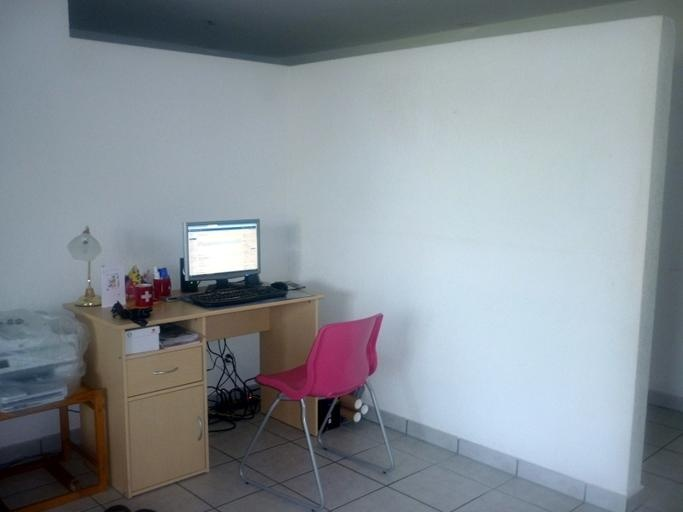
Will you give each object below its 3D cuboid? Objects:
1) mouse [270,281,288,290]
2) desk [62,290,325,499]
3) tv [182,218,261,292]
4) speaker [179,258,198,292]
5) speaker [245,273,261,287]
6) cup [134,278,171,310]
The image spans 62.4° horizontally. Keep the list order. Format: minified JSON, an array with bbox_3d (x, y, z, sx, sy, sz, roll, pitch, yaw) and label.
[{"bbox_3d":[-0.445,0.216,4.194,0.083,0.030,0.066,9,12,42],"label":"mouse"},{"bbox_3d":[-0.988,0.814,4.066,0.922,1.105,1.570,10,11,43],"label":"desk"},{"bbox_3d":[-0.866,-0.043,4.133,0.585,0.453,0.075,-4,12,-34],"label":"tv"},{"bbox_3d":[-1.114,0.128,4.111,0.118,0.280,0.294,-4,14,-19],"label":"speaker"},{"bbox_3d":[-0.671,0.175,4.242,0.119,0.123,0.073,7,-7,-33],"label":"speaker"},{"bbox_3d":[-1.245,0.244,3.737,0.112,0.183,0.251,7,7,29],"label":"cup"}]
